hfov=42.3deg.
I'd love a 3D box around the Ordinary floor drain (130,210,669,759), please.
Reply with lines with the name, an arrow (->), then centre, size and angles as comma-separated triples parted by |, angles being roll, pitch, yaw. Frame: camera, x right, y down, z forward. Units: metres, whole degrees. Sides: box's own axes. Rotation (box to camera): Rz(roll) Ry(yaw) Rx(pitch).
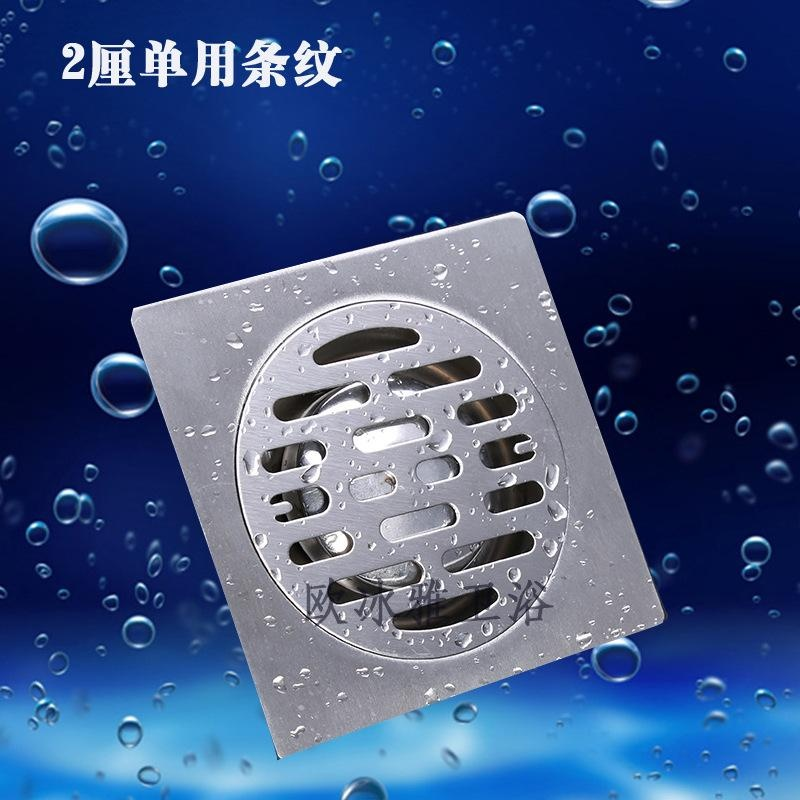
Ordinary floor drain -> 0.006, 0.073, 1.088 | 0.476, 0.514, 0.175 | -9, 14, -16
